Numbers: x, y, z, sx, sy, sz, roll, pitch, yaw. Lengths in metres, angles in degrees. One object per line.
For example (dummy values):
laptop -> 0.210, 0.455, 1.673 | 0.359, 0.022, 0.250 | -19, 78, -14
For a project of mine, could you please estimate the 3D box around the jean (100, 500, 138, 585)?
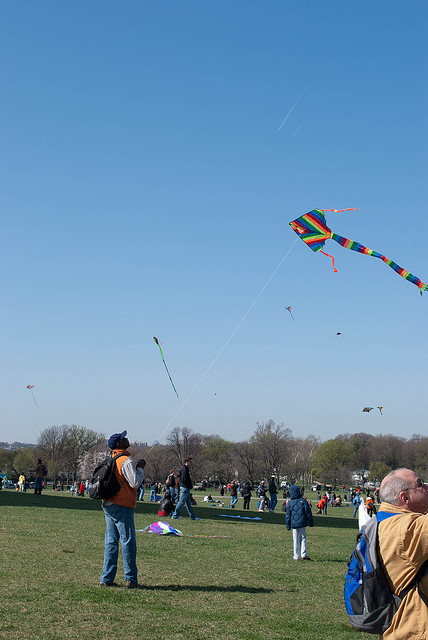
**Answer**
jean -> -1.052, 2.457, 8.122 | 0.413, 0.887, 0.381 | 2, -11, -8

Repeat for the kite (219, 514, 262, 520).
kite -> 0.808, 6.440, 24.063 | 1.250, 0.147, 2.289 | 0, -10, -2

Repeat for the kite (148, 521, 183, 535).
kite -> -0.979, 4.072, 14.327 | 0.605, 0.204, 0.717 | 3, -11, -17

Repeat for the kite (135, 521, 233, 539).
kite -> -0.747, 4.108, 14.281 | 1.570, 0.293, 0.903 | 1, -10, -6

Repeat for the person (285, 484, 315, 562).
person -> 1.440, 3.432, 12.512 | 0.467, 1.217, 1.338 | -1, -11, 7

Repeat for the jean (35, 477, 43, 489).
jean -> -5.700, 5.265, 23.792 | 0.219, 0.365, 1.392 | 3, -11, -13

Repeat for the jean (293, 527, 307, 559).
jean -> 1.411, 3.723, 12.294 | 0.216, 0.488, 0.456 | -1, -11, 6

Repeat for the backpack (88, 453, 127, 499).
backpack -> -1.141, 1.784, 8.323 | 0.552, 0.484, 0.469 | -3, -14, 6

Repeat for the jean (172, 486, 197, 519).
jean -> -0.763, 4.611, 18.542 | 0.582, 0.862, 1.197 | 2, -11, -8
